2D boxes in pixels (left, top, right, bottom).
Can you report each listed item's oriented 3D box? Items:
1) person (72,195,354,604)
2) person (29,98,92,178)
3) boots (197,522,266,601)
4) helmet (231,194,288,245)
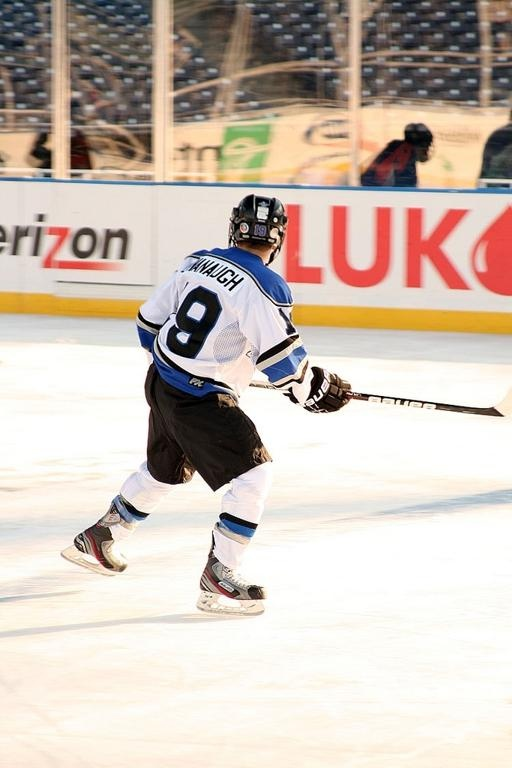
[{"bbox_3d":[-0.144,0.116,2.205,0.599,0.937,0.291,6,8,38],"label":"person"},{"bbox_3d":[-1.878,-2.397,8.121,0.789,0.663,0.170,0,-5,0],"label":"person"},{"bbox_3d":[-0.051,0.483,2.143,0.210,0.139,0.069,5,-2,37],"label":"boots"},{"bbox_3d":[0.004,-0.432,2.188,0.139,0.125,0.142,5,21,-1],"label":"helmet"}]
